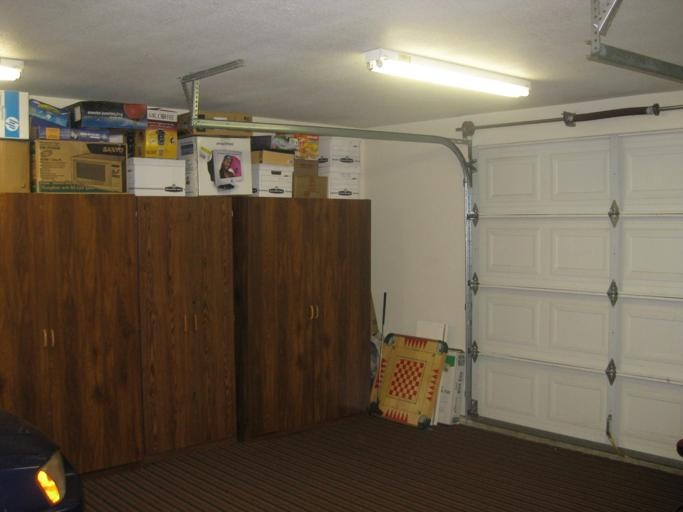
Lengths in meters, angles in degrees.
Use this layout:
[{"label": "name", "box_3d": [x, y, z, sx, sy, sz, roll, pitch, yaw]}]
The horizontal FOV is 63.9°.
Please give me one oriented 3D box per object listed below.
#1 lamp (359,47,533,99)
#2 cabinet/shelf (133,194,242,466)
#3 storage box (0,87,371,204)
[{"label": "lamp", "box_3d": [0.909, -1.453, 4.298, 1.772, 0.187, 0.289, -6, 24, -38]}, {"label": "cabinet/shelf", "box_3d": [-1.449, 0.629, 5.171, 0.881, 2.353, 0.370, -2, 7, -21]}, {"label": "storage box", "box_3d": [-1.040, -1.031, 5.303, 3.912, 0.973, 2.410, -3, 8, -22]}]
